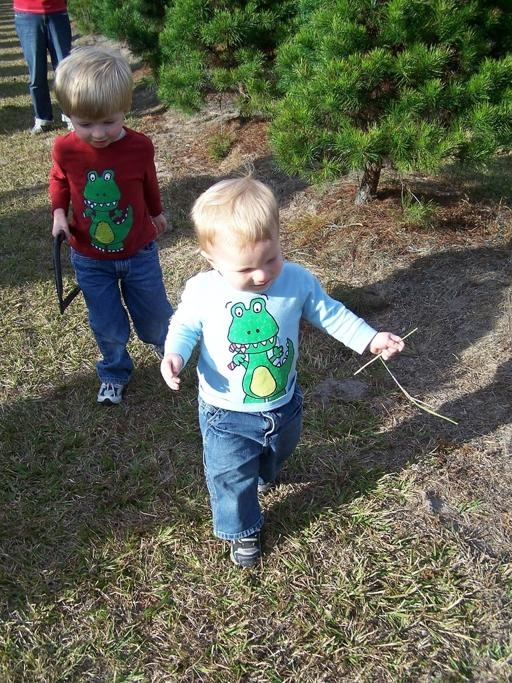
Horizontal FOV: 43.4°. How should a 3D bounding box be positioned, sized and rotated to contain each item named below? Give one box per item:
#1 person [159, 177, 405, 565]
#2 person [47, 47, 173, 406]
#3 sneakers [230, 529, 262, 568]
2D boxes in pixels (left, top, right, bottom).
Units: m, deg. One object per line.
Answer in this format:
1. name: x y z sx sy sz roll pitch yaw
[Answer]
1. person: 0.018 0.109 2.080 0.605 1.260 0.346 -16 30 -22
2. person: -0.616 -0.452 2.762 0.462 1.491 0.365 -9 28 -10
3. sneakers: -0.029 0.696 2.155 0.078 0.059 0.132 -1 54 -9
